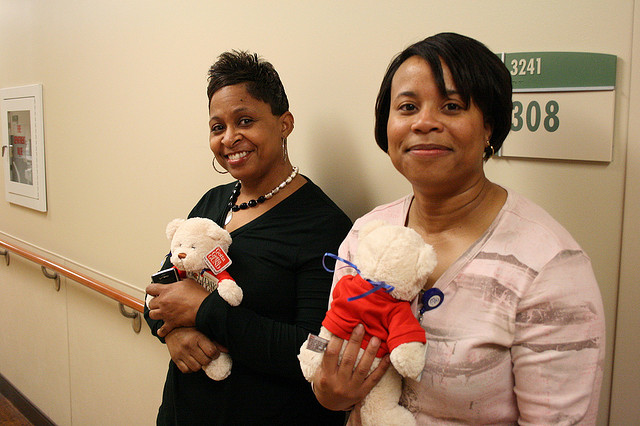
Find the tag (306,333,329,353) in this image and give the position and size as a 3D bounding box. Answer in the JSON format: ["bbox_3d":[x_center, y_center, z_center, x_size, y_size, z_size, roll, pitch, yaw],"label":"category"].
[{"bbox_3d":[-0.007,0.416,1.562,0.055,0.037,0.031,15,-11,37],"label":"tag"}]

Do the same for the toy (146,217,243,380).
[{"bbox_3d":[-0.485,0.318,1.944,0.379,0.577,0.188,9,15,11],"label":"toy"}]

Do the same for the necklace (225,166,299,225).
[{"bbox_3d":[-0.219,-0.058,2.086,0.283,0.037,0.225,-34,35,19],"label":"necklace"}]

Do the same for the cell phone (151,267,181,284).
[{"bbox_3d":[-0.615,0.255,1.960,0.077,0.079,0.019,-14,6,14],"label":"cell phone"}]

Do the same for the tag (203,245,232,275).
[{"bbox_3d":[-0.386,0.180,1.854,0.086,0.110,0.069,-7,9,-33],"label":"tag"}]
